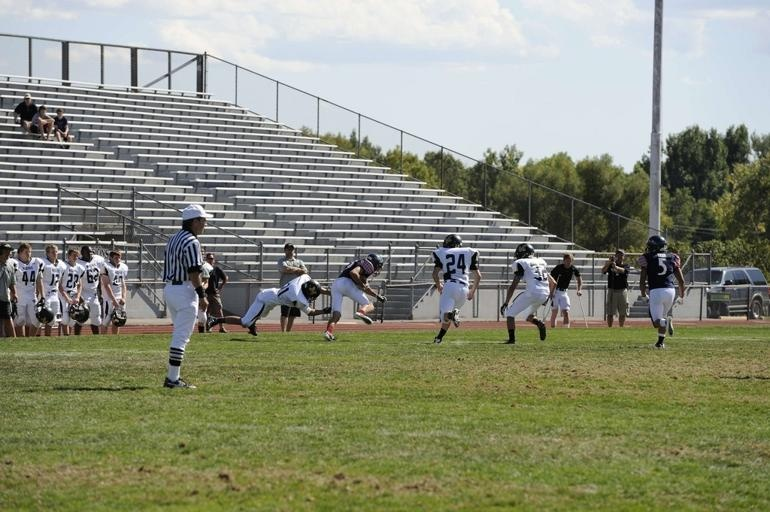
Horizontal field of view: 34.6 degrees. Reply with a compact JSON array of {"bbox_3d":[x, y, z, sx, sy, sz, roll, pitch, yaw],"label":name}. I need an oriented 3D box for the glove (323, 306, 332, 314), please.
[{"bbox_3d":[-1.247,1.135,26.538,0.296,0.139,0.354,0,3,-2],"label":"glove"}]

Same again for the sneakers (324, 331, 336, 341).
[{"bbox_3d":[-1.168,1.639,25.769,0.118,0.149,0.356,1,-6,27],"label":"sneakers"}]

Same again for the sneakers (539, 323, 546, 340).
[{"bbox_3d":[3.374,1.578,26.263,0.165,0.428,0.200,-5,1,-11],"label":"sneakers"}]

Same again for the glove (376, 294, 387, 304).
[{"bbox_3d":[-0.083,0.893,26.307,0.247,0.172,0.393,8,-2,-1],"label":"glove"}]

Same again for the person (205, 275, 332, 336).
[{"bbox_3d":[-2.488,1.041,26.301,2.645,0.974,0.902,-3,5,-21],"label":"person"}]

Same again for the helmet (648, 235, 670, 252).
[{"bbox_3d":[5.650,-0.277,25.712,0.381,0.303,0.303,3,-1,31],"label":"helmet"}]

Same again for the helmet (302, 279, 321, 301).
[{"bbox_3d":[-1.545,0.688,25.929,0.405,0.440,0.271,5,8,33],"label":"helmet"}]

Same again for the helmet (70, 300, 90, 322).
[{"bbox_3d":[-6.650,1.201,26.950,0.359,0.426,0.445,-4,1,-5],"label":"helmet"}]

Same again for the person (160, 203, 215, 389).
[{"bbox_3d":[-3.275,0.622,20.138,0.663,2.893,0.709,0,7,-9],"label":"person"}]

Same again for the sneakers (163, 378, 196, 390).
[{"bbox_3d":[-3.327,2.050,20.068,0.535,0.213,0.187,0,0,1],"label":"sneakers"}]

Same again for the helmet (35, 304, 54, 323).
[{"bbox_3d":[-7.353,1.206,26.675,0.391,0.431,0.283,-2,8,-22],"label":"helmet"}]

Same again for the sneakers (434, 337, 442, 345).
[{"bbox_3d":[1.090,1.732,25.627,0.141,0.107,0.113,-1,-3,-7],"label":"sneakers"}]

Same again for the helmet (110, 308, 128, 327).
[{"bbox_3d":[-5.921,1.315,27.503,0.300,0.364,0.385,-2,18,-31],"label":"helmet"}]

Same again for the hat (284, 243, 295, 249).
[{"bbox_3d":[-2.406,-0.284,30.876,0.315,0.140,0.432,1,-3,-5],"label":"hat"}]

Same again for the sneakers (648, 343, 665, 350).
[{"bbox_3d":[5.524,1.806,25.032,0.137,0.154,0.336,2,3,-18],"label":"sneakers"}]

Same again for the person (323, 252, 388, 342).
[{"bbox_3d":[-0.684,0.839,26.060,1.155,1.735,1.542,1,7,2],"label":"person"}]
